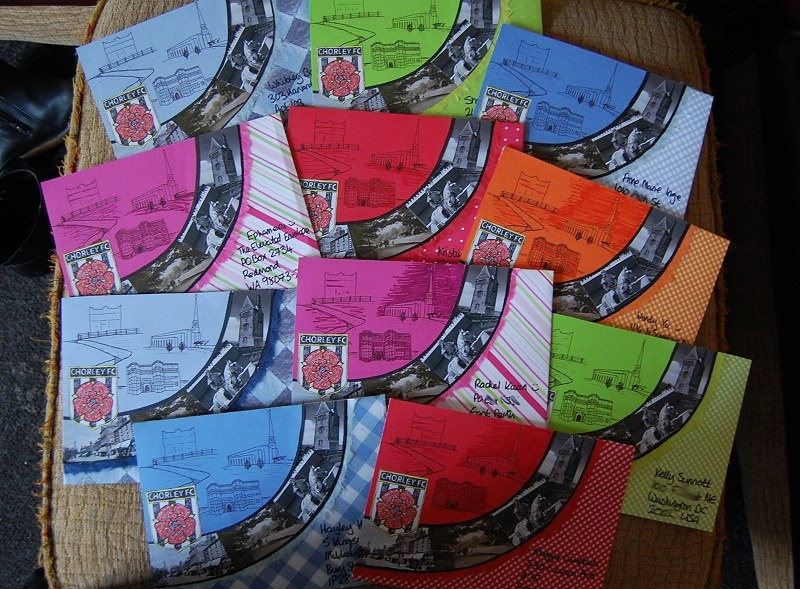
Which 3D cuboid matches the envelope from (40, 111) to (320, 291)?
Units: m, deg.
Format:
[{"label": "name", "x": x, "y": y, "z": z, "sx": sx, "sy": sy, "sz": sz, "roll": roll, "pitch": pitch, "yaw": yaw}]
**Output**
[{"label": "envelope", "x": -0.368, "y": -0.112, "z": 1.291, "sx": 0.421, "sy": 0.051, "sz": 0.287, "roll": -15, "pitch": 80, "yaw": -5}]
